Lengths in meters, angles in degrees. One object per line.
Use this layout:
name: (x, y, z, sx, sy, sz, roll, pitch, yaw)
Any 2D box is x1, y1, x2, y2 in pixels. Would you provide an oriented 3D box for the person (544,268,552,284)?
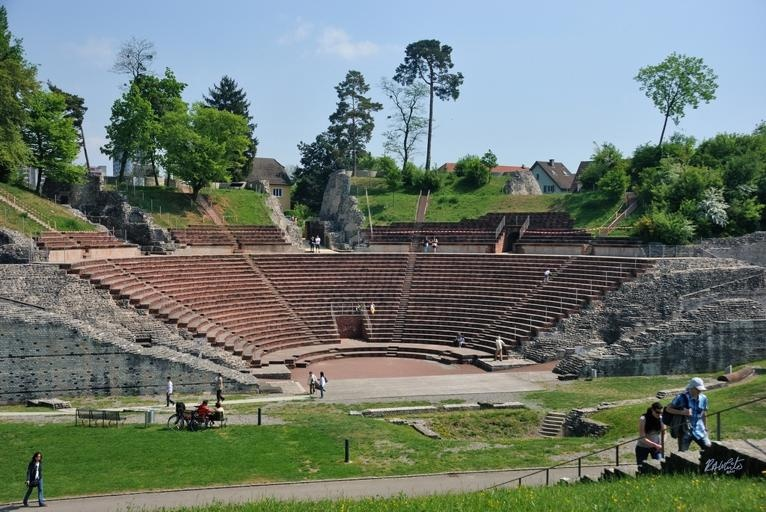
person: (12.502, 1.613, 78.129, 0.735, 1.040, 0.567, 11, -12, -43)

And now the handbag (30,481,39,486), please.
handbag: (-18.027, 11.843, 52.751, 0.510, 0.317, 0.257, 3, -9, -15)

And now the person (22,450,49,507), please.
person: (-18.129, 11.750, 53.404, 1.141, 2.750, 1.608, 4, -10, -17)

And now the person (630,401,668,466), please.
person: (13.019, 8.753, 49.608, 1.289, 3.114, 1.554, 6, -10, -24)

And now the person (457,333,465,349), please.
person: (5.711, 6.291, 75.293, 0.551, 1.058, 1.000, 1, -9, 3)

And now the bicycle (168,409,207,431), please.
bicycle: (-11.411, 9.620, 59.275, 2.313, 1.116, 1.191, -2, -9, 18)

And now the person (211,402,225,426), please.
person: (-9.714, 9.443, 59.833, 1.291, 1.140, 0.948, 1, -2, -17)

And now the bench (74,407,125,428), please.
bench: (-16.472, 9.492, 59.506, 2.728, 0.995, 1.945, 3, -9, -14)
